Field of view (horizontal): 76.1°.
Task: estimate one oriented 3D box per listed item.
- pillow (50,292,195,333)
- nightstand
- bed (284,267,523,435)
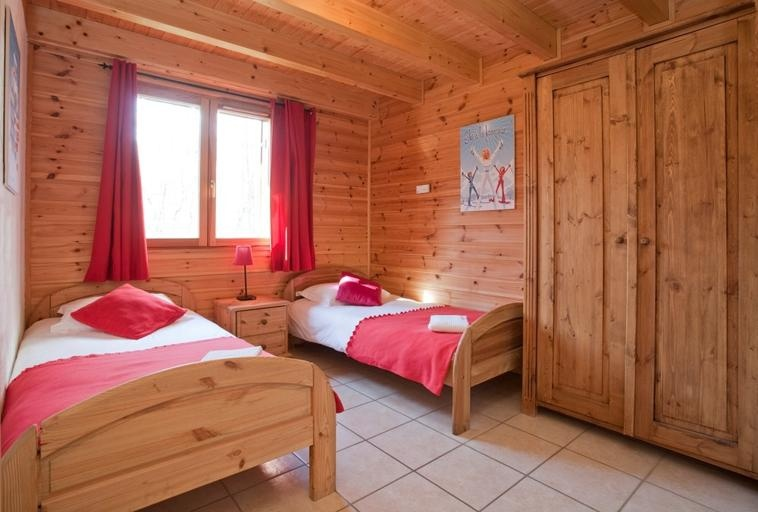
[{"bbox_3d":[-2.051,0.451,3.894,0.525,0.143,0.520,23,23,17],"label":"pillow"},{"bbox_3d":[-1.204,0.601,4.948,0.608,0.654,0.807,2,3,43],"label":"nightstand"},{"bbox_3d":[0.146,0.723,4.611,1.206,0.810,2.131,-3,5,-39],"label":"bed"}]
